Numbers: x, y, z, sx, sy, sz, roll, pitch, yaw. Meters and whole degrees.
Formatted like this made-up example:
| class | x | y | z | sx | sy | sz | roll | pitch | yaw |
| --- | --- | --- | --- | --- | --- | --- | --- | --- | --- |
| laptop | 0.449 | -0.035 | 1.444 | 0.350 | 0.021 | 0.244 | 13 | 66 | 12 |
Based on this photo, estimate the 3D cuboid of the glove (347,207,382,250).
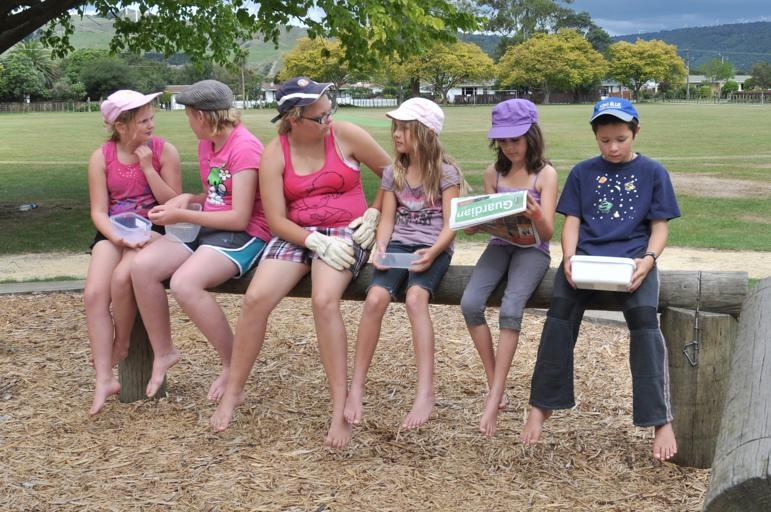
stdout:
| class | x | y | z | sx | sy | sz | roll | pitch | yaw |
| --- | --- | --- | --- | --- | --- | --- | --- | --- | --- |
| glove | -0.129 | -0.199 | 4.804 | 0.201 | 0.267 | 0.101 | 30 | -20 | -11 |

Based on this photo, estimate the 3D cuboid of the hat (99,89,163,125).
| class | x | y | z | sx | sy | sz | roll | pitch | yaw |
| --- | --- | --- | --- | --- | --- | --- | --- | --- | --- |
| hat | -1.814 | -1.076 | 4.963 | 0.386 | 0.133 | 0.253 | -24 | 16 | 8 |

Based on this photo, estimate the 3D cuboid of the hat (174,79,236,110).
| class | x | y | z | sx | sy | sz | roll | pitch | yaw |
| --- | --- | --- | --- | --- | --- | --- | --- | --- | --- |
| hat | -1.271 | -1.112 | 4.889 | 0.319 | 0.110 | 0.230 | 6 | 25 | 12 |

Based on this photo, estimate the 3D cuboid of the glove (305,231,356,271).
| class | x | y | z | sx | sy | sz | roll | pitch | yaw |
| --- | --- | --- | --- | --- | --- | --- | --- | --- | --- |
| glove | -0.369 | -0.031 | 4.609 | 0.322 | 0.236 | 0.155 | 6 | 19 | 26 |

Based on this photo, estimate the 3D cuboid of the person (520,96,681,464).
| class | x | y | z | sx | sy | sz | roll | pitch | yaw |
| --- | --- | --- | --- | --- | --- | --- | --- | --- | --- |
| person | 1.376 | 0.161 | 4.344 | 0.912 | 2.180 | 0.934 | 4 | 19 | 19 |

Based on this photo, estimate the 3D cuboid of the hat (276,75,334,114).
| class | x | y | z | sx | sy | sz | roll | pitch | yaw |
| --- | --- | --- | --- | --- | --- | --- | --- | --- | --- |
| hat | -0.550 | -1.069 | 4.699 | 0.400 | 0.229 | 0.273 | -2 | 17 | 0 |

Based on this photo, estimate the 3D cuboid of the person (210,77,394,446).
| class | x | y | z | sx | sy | sz | roll | pitch | yaw |
| --- | --- | --- | --- | --- | --- | --- | --- | --- | --- |
| person | -0.553 | -0.013 | 4.751 | 0.926 | 2.288 | 1.190 | 3 | 18 | 17 |

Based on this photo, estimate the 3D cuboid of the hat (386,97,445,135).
| class | x | y | z | sx | sy | sz | roll | pitch | yaw |
| --- | --- | --- | --- | --- | --- | --- | --- | --- | --- |
| hat | 0.204 | -0.965 | 4.765 | 0.338 | 0.154 | 0.242 | 18 | 10 | -16 |
